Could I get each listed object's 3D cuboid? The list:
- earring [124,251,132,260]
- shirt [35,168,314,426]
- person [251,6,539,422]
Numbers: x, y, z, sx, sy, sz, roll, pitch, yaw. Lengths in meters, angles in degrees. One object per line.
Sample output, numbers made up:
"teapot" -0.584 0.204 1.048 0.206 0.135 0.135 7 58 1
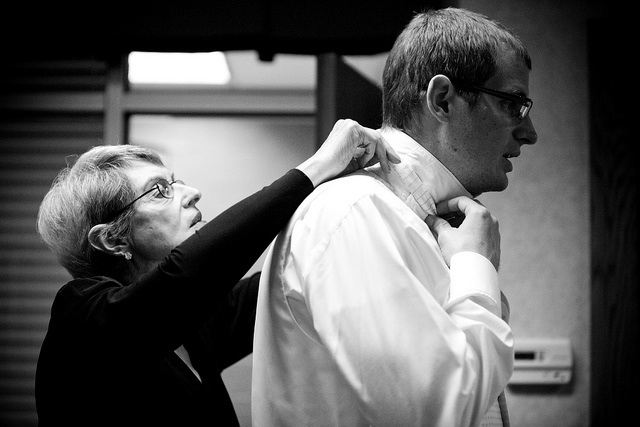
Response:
"earring" -0.746 0.160 3.306 0.030 0.034 0.010 -2 0 -25
"shirt" -0.490 0.238 3.800 1.068 1.748 0.748 -3 5 1
"person" 0.332 0.081 3.780 1.068 2.206 1.594 2 -7 1
